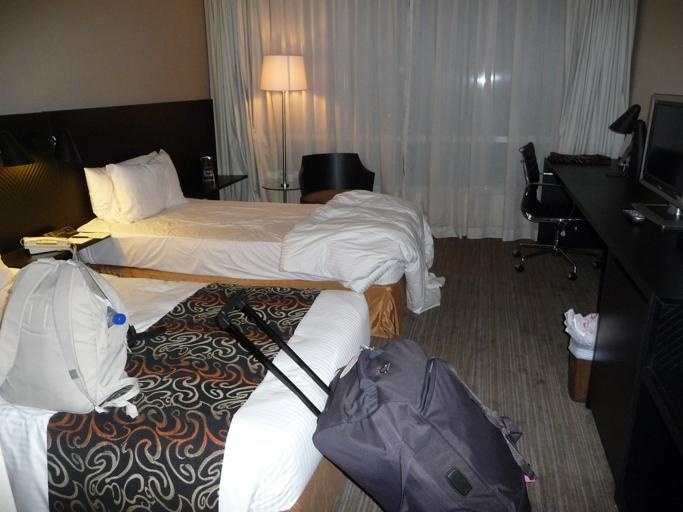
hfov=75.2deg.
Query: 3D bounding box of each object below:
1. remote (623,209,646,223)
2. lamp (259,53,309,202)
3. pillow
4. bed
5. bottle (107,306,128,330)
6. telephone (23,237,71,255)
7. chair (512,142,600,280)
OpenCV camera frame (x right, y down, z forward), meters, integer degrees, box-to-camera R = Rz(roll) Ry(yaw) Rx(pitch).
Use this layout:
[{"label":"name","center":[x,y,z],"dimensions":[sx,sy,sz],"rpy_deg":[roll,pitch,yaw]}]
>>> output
[{"label":"remote","center":[1.796,-0.255,2.729],"dimensions":[0.064,0.034,0.120],"rpy_deg":[1,26,5]},{"label":"lamp","center":[-0.705,-1.530,5.405],"dimensions":[0.587,1.743,0.625],"rpy_deg":[12,25,35]},{"label":"pillow","center":[-1.823,-0.605,3.879],"dimensions":[0.244,0.318,0.659],"rpy_deg":[13,22,10]},{"label":"bed","center":[-0.594,0.464,2.230],"dimensions":[1.436,0.403,1.580],"rpy_deg":[1,23,4]},{"label":"bottle","center":[-0.994,0.265,1.940],"dimensions":[0.078,0.091,0.034],"rpy_deg":[-7,17,29]},{"label":"telephone","center":[-2.094,-0.087,3.177],"dimensions":[0.263,0.107,0.152],"rpy_deg":[-5,27,-25]},{"label":"chair","center":[2.189,-0.462,4.481],"dimensions":[0.844,1.382,1.023],"rpy_deg":[-2,20,10]}]
